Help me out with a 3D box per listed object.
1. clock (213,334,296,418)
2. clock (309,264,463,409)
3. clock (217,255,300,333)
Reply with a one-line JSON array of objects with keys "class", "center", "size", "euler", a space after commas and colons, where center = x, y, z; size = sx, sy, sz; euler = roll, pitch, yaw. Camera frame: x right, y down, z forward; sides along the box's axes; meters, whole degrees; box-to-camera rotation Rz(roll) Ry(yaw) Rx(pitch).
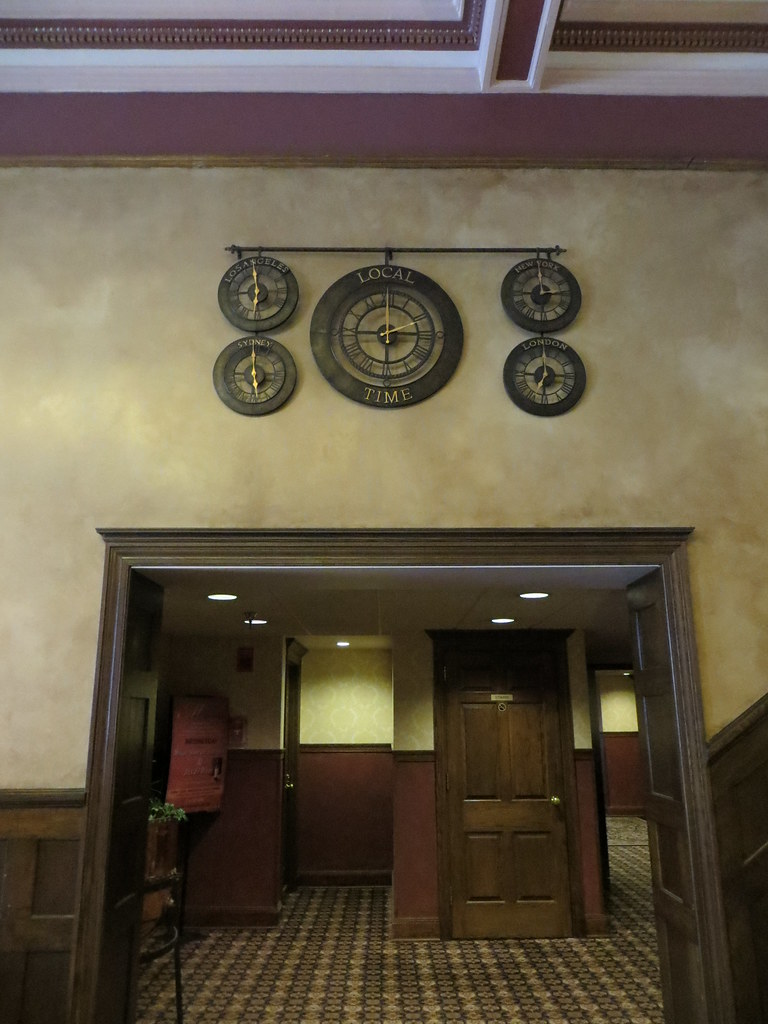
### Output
[{"class": "clock", "center": [-0.509, -0.551, 3.240], "size": [0.306, 0.305, 0.306], "euler": [-1, -4, -9]}, {"class": "clock", "center": [0.004, -0.684, 3.277], "size": [0.598, 0.594, 0.061], "euler": [2, -13, -2]}, {"class": "clock", "center": [-0.506, -0.873, 3.295], "size": [0.327, 0.326, 0.045], "euler": [1, -11, 3]}]
